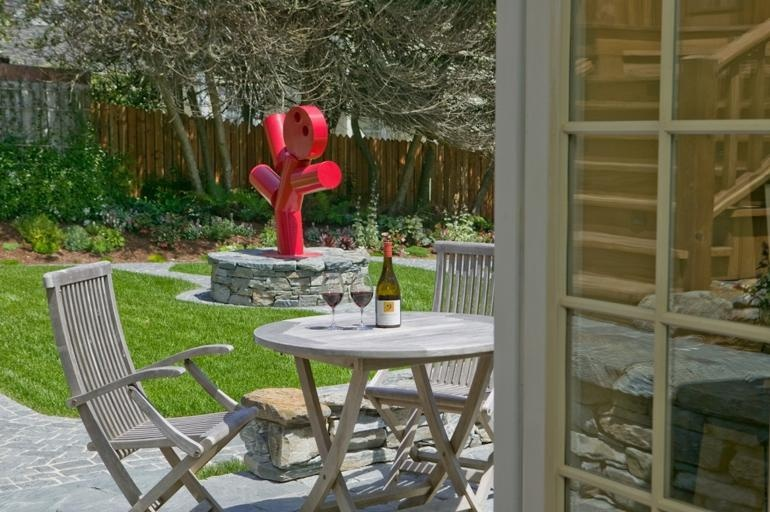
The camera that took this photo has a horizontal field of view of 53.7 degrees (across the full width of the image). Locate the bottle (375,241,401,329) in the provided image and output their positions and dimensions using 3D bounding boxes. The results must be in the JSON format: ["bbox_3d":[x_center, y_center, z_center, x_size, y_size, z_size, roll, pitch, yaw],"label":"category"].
[{"bbox_3d":[0.014,0.130,4.018,0.141,0.460,0.345,0,8,1],"label":"bottle"}]
